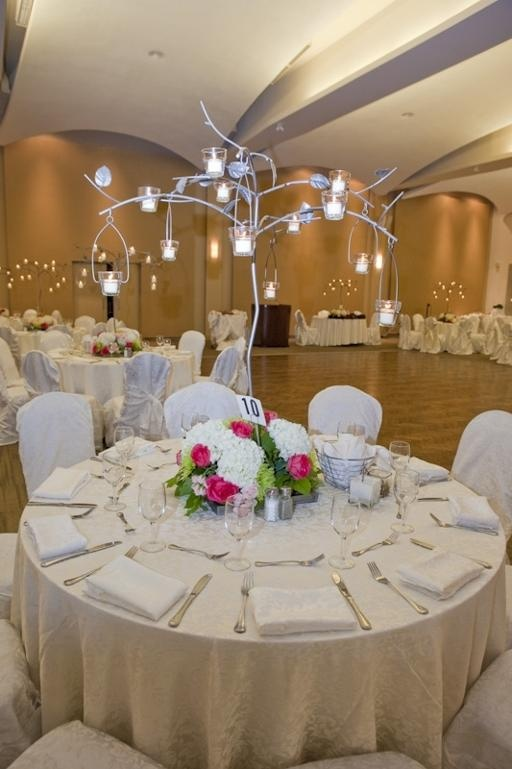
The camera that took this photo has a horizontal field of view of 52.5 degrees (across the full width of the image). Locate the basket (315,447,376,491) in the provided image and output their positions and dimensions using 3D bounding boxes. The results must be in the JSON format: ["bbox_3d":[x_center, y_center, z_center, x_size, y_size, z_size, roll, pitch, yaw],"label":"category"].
[{"bbox_3d":[0.300,0.282,1.740,0.133,0.095,0.135,2,1,-33],"label":"basket"}]
